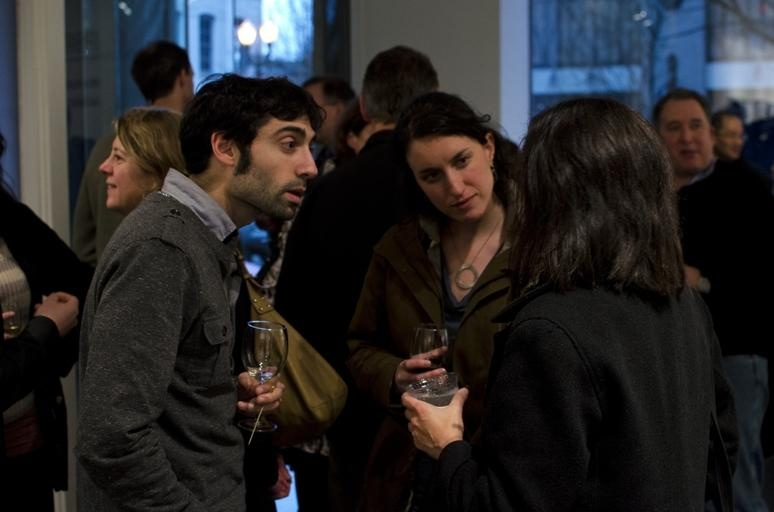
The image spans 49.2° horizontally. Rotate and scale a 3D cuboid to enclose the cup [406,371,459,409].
[{"bbox_3d":[0.172,0.490,3.117,0.170,0.099,0.185,-2,6,0],"label":"cup"}]
